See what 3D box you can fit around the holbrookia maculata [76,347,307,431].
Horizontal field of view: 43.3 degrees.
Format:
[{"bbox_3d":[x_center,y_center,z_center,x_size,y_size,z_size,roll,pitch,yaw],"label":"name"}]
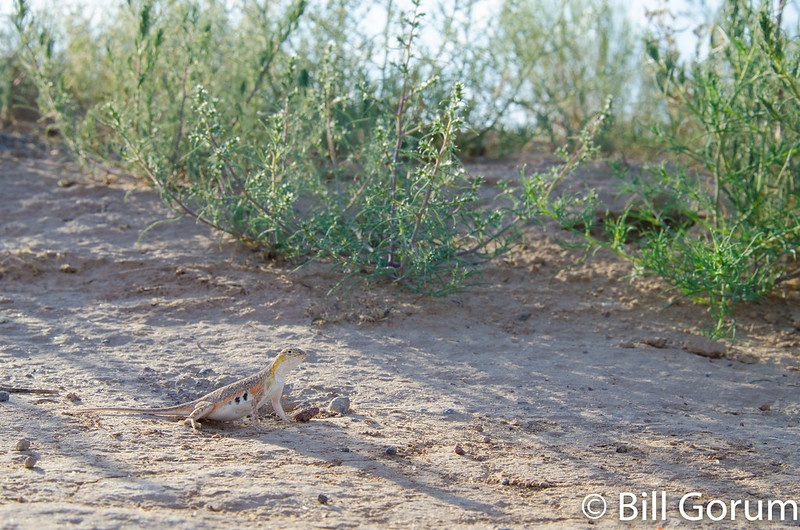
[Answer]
[{"bbox_3d":[-1.504,0.883,7.325,1.759,0.591,0.588,9,-23,-2],"label":"holbrookia maculata"}]
